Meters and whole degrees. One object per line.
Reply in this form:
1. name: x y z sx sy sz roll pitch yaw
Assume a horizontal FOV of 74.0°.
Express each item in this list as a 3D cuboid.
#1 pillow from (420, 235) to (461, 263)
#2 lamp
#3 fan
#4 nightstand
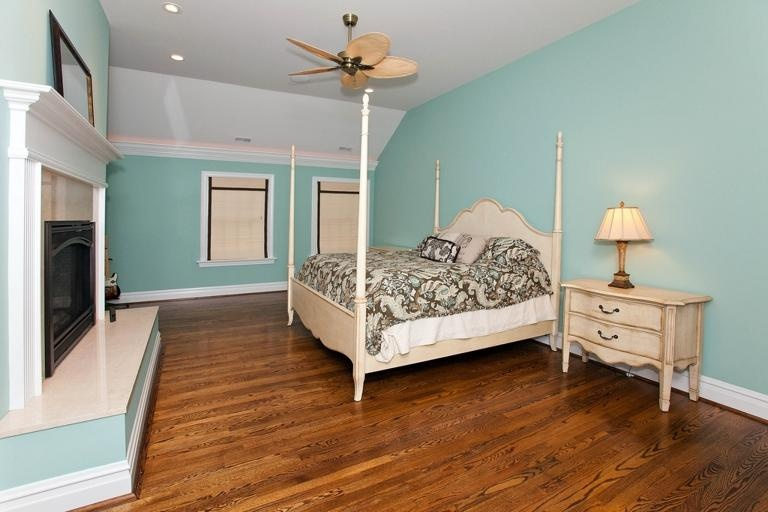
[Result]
1. pillow: 0.697 -0.087 6.064 0.150 0.306 0.511 37 -16 -28
2. lamp: 2.349 -0.123 4.961 0.474 0.814 0.450 2 6 27
3. fan: -0.282 -1.859 4.884 1.044 0.240 0.841 2 6 30
4. nightstand: 2.345 0.792 4.840 1.149 1.039 0.537 5 8 44
